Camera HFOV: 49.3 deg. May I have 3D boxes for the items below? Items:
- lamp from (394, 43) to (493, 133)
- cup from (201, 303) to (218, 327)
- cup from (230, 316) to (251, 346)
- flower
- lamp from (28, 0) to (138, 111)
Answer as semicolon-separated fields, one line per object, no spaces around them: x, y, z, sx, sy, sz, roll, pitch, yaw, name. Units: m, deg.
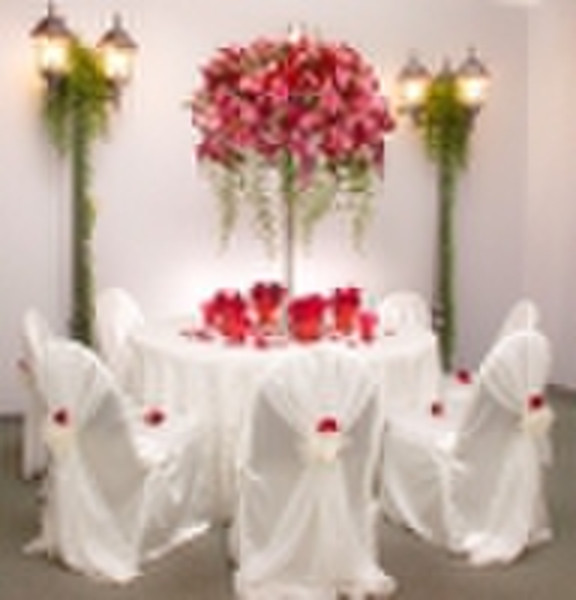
1.070;-1.329;4.509;0.526;0.580;0.588;-5;7;-37;lamp
-0.403;0.075;3.241;0.088;0.180;0.097;-3;8;-19;cup
-0.211;0.131;2.823;0.082;0.159;0.096;-3;8;-18;cup
-0.048;-0.738;3.272;0.909;1.035;1.454;-1;6;-10;flower
-1.286;-1.497;3.857;0.170;0.710;0.608;2;3;31;lamp
